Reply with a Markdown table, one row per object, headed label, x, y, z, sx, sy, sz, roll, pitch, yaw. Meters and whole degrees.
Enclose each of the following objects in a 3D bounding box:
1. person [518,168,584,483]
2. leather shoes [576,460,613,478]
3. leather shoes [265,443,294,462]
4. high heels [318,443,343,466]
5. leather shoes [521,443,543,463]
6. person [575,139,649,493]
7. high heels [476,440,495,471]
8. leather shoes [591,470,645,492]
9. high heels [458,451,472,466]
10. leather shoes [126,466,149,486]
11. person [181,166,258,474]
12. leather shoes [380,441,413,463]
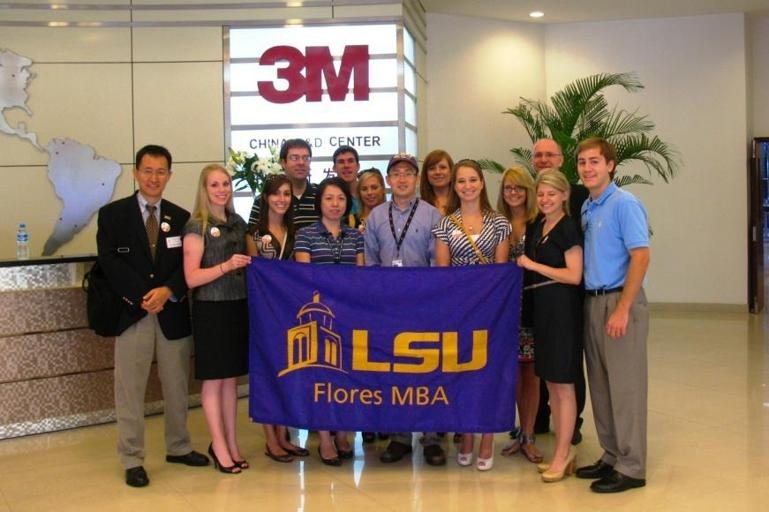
| label | x | y | z | sx | sy | sz | roll | pitch | yaw |
| --- | --- | --- | --- | --- | --- | --- | --- | --- | --- |
| person | 1.402 | 0.559 | 5.524 | 0.529 | 2.526 | 0.720 | 2 | 12 | 13 |
| leather shoes | 1.774 | 1.779 | 5.511 | 0.334 | 0.133 | 0.118 | 1 | -3 | -6 |
| leather shoes | -0.950 | 1.768 | 5.895 | 0.230 | 0.087 | 0.114 | -5 | -5 | 38 |
| high heels | -0.476 | 1.746 | 5.792 | 0.192 | 0.139 | 0.150 | -2 | 11 | -5 |
| leather shoes | 1.314 | 1.736 | 5.786 | 0.103 | 0.079 | 0.205 | -7 | -3 | -23 |
| person | 1.877 | 0.453 | 5.386 | 0.607 | 2.805 | 0.748 | -4 | 12 | -16 |
| high heels | 0.867 | 1.705 | 5.614 | 0.108 | 0.130 | 0.317 | -2 | -1 | 11 |
| leather shoes | 1.912 | 1.836 | 5.396 | 0.438 | 0.169 | 0.159 | 2 | -2 | -9 |
| high heels | 0.710 | 1.752 | 5.697 | 0.109 | 0.067 | 0.189 | -2 | -8 | 6 |
| leather shoes | -2.106 | 1.852 | 5.536 | 0.200 | 0.132 | 0.178 | -4 | 12 | -15 |
| person | -1.410 | 0.536 | 5.651 | 0.558 | 2.603 | 0.587 | -5 | 12 | -17 |
| leather shoes | 0.103 | 1.747 | 5.852 | 0.123 | 0.126 | 0.332 | -6 | -9 | 30 |
